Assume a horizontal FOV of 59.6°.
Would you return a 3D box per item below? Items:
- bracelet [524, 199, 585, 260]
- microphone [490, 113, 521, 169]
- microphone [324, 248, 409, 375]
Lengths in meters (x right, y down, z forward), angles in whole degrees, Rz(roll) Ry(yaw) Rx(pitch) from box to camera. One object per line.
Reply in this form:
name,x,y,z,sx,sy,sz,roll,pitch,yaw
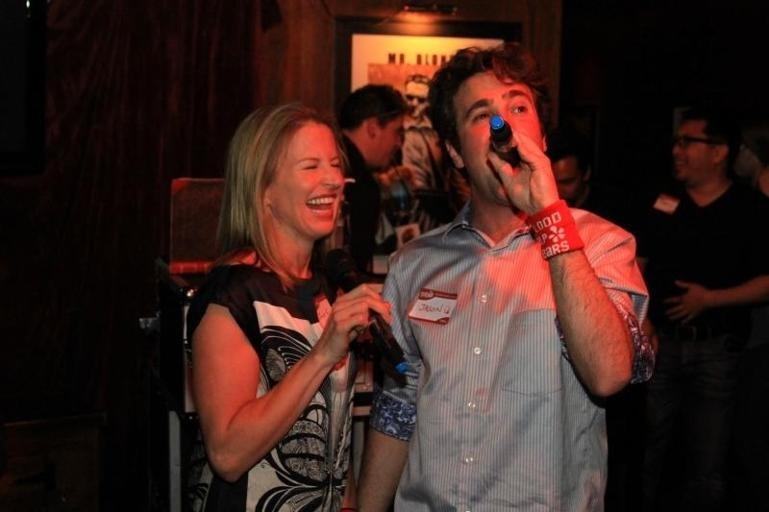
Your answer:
bracelet,0.731,-0.087,2.861,0.186,0.264,0.158,-15,-18,15
microphone,0.521,-0.484,2.906,0.126,0.211,0.251,-1,-1,9
microphone,-0.096,0.236,3.073,0.139,0.188,0.718,27,19,-46
